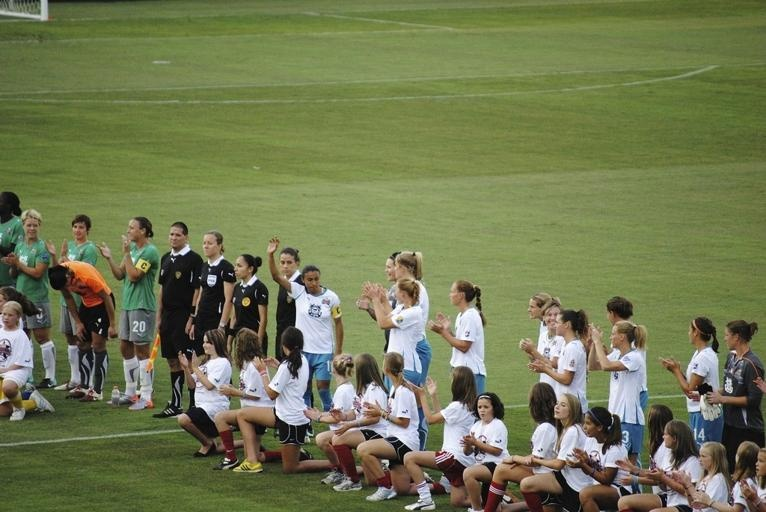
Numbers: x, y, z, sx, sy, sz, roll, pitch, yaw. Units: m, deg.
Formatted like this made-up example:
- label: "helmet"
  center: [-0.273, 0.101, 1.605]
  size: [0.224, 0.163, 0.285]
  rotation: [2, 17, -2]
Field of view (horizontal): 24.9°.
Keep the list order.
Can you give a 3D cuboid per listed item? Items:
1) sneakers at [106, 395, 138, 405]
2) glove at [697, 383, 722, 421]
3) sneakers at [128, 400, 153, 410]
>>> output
- label: "sneakers"
  center: [-6.397, 3.514, 42.489]
  size: [0.504, 0.167, 0.267]
  rotation: [3, 3, -6]
- label: "glove"
  center: [7.540, 3.368, 39.914]
  size: [0.612, 0.771, 0.279]
  rotation: [1, 16, 16]
- label: "sneakers"
  center: [-5.919, 3.644, 42.352]
  size: [0.463, 0.152, 0.243]
  rotation: [1, 3, -11]
